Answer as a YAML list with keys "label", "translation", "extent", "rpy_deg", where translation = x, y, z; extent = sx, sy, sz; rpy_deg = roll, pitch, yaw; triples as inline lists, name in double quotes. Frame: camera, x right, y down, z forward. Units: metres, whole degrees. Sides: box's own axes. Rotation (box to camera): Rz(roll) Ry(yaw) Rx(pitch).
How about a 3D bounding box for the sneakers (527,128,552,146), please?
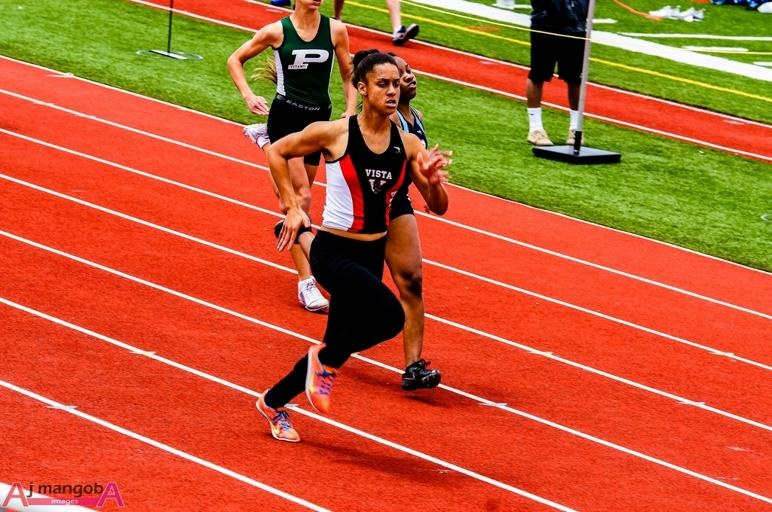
- label: "sneakers"
  translation: [2.008, -1.562, 12.257]
  extent: [0.212, 0.113, 0.331]
  rpy_deg: [-14, 23, -23]

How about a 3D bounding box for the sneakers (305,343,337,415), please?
- label: "sneakers"
  translation: [-0.417, 0.793, 5.842]
  extent: [0.181, 0.461, 0.241]
  rpy_deg: [8, 21, -6]

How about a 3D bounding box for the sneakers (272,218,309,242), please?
- label: "sneakers"
  translation: [-0.730, -0.200, 7.116]
  extent: [0.298, 0.081, 0.216]
  rpy_deg: [18, 20, 32]

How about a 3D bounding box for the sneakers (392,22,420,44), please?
- label: "sneakers"
  translation: [0.298, -3.608, 15.166]
  extent: [0.285, 0.165, 0.544]
  rpy_deg: [20, -21, -22]

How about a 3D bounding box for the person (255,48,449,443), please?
- label: "person"
  translation: [-0.256, -0.017, 6.083]
  extent: [1.166, 2.583, 1.170]
  rpy_deg: [7, 22, -8]

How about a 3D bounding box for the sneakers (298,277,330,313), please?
- label: "sneakers"
  translation: [-0.615, 0.341, 7.810]
  extent: [0.190, 0.155, 0.436]
  rpy_deg: [-20, 24, -29]
